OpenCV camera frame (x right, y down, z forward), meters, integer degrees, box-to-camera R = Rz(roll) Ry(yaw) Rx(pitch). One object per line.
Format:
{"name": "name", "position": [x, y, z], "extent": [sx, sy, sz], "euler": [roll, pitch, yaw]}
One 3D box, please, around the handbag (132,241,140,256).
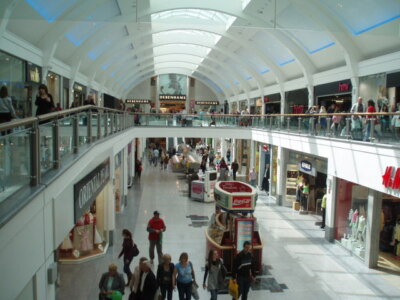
{"name": "handbag", "position": [-2.041, 3.140, 9.208], "extent": [0.159, 0.498, 0.439], "euler": [0, 5, -13]}

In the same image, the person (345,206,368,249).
{"name": "person", "position": [6.236, 3.014, 11.777], "extent": [0.355, 1.687, 1.149], "euler": [1, 4, -2]}

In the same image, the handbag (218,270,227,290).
{"name": "handbag", "position": [0.574, 3.416, 7.813], "extent": [0.143, 0.498, 0.285], "euler": [3, 5, 25]}
